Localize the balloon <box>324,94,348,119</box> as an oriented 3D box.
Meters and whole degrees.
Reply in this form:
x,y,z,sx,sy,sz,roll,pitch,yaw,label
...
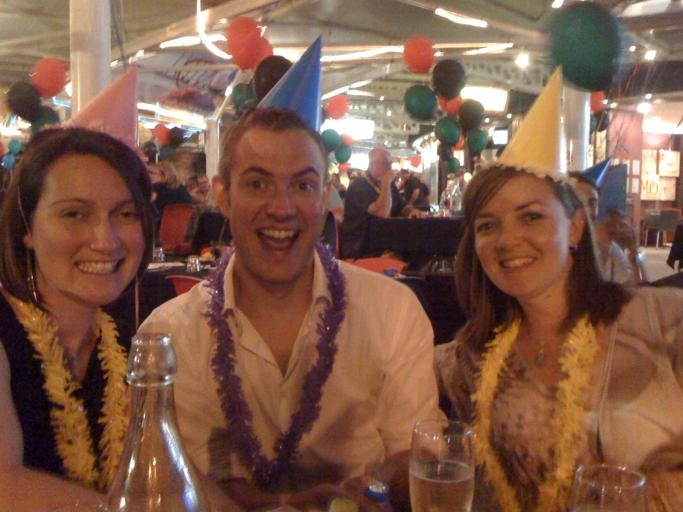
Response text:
x,y,z,sx,sy,sz,roll,pitch,yaw,label
-0.131,-3.103,12.634,0.450,0.559,1.051,3,2,-4,balloon

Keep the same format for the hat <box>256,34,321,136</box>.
x,y,z,sx,sy,sz,roll,pitch,yaw,label
-0.203,-0.792,2.704,0.276,0.485,0.344,3,2,-17,hat

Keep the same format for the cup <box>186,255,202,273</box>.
x,y,z,sx,sy,sz,roll,pitch,yaw,label
-0.980,0.057,4.042,0.127,0.138,0.100,-2,3,-17,cup

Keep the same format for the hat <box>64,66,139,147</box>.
x,y,z,sx,sy,sz,roll,pitch,yaw,label
-0.878,-0.572,2.248,0.241,0.366,0.394,3,2,-22,hat

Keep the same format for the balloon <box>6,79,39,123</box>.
x,y,z,sx,sy,sz,roll,pitch,yaw,label
-3.159,-1.543,6.071,0.292,0.346,0.394,2,3,-41,balloon

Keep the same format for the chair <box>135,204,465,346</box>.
x,y,z,sx,sy,sz,roll,pitch,yaw,label
-0.166,0.088,3.026,0.806,0.599,0.807,1,7,13,chair

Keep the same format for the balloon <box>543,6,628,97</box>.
x,y,z,sx,sy,sz,roll,pitch,yaw,label
1.680,-1.483,4.165,0.508,0.536,0.346,4,2,1,balloon
